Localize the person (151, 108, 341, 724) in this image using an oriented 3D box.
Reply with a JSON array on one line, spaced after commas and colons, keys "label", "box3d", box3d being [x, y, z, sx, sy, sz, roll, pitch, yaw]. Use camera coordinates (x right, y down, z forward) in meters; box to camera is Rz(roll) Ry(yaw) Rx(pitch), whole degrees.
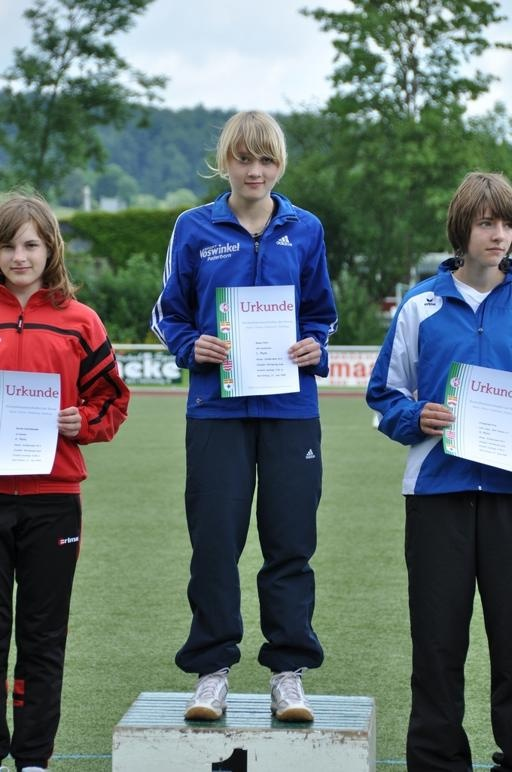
[{"label": "person", "box3d": [-0.017, 0.064, 3.752, 0.680, 2.021, 0.647, 0, 5, -5]}]
